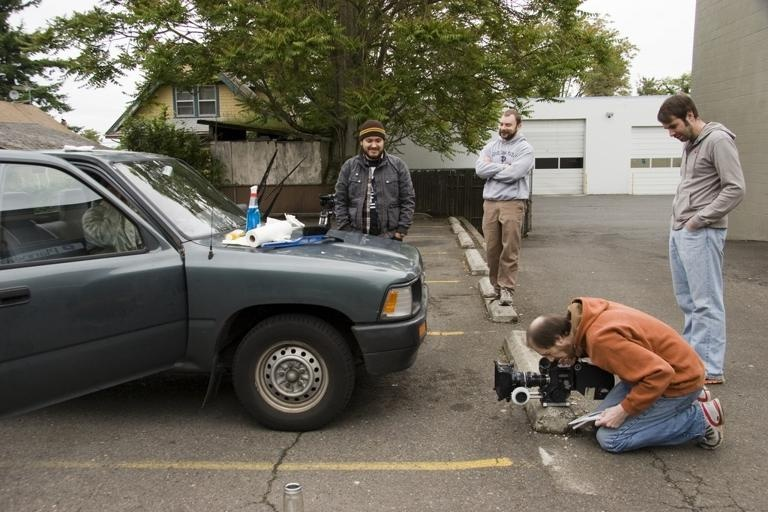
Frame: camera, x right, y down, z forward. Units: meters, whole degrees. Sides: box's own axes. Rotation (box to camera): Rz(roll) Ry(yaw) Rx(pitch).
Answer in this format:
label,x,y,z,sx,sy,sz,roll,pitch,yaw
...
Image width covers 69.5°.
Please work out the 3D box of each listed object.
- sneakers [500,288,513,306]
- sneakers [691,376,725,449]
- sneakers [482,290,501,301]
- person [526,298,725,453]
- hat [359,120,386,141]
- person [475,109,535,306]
label,x,y,z,sx,sy,sz,roll,pitch,yaw
sneakers,1.615,0.544,7.256,0.238,0.259,0.632,0,-2,10
sneakers,2.559,1.214,4.330,0.285,0.592,0.206,-5,18,15
sneakers,1.492,0.557,7.654,0.213,0.091,0.078,5,4,25
person,1.876,0.894,4.377,1.433,1.081,0.902,-2,3,27
hat,-0.114,-1.393,6.178,0.277,0.204,0.259,0,6,-9
person,1.581,-0.606,7.280,0.702,2.556,0.774,1,14,7
